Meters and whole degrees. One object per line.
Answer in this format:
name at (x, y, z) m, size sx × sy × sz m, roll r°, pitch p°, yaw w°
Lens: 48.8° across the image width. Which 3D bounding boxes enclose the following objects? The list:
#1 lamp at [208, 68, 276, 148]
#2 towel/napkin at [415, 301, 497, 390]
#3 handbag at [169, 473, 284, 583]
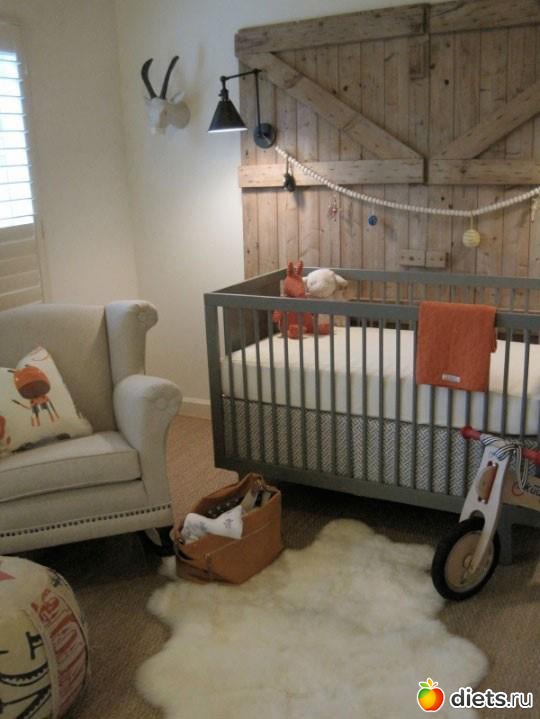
lamp at (-0.152, -1.242, 2.985) m, size 0.277 × 0.395 × 0.156 m, roll -14°, pitch 23°, yaw -23°
towel/napkin at (0.571, -0.046, 1.840) m, size 0.262 × 0.276 × 0.098 m, roll 10°, pitch 19°, yaw 32°
handbag at (-0.131, 0.554, 2.015) m, size 0.244 × 0.268 × 0.387 m, roll 16°, pitch 28°, yaw 38°
